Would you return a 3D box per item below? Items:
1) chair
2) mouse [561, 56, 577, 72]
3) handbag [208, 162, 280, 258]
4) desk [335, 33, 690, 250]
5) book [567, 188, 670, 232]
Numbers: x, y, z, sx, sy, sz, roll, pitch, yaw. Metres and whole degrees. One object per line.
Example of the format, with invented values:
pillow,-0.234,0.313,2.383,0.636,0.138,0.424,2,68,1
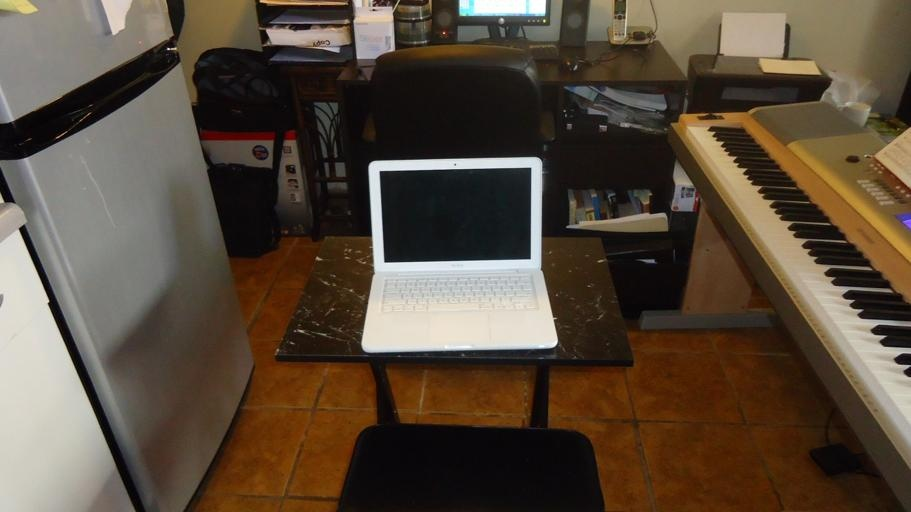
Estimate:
chair,0.061,-0.612,2.987,0.708,0.770,0.688,0,21,2
mouse,0.598,-0.998,3.328,0.076,0.027,0.070,-9,47,5
handbag,-1.235,-0.276,3.670,0.533,0.516,0.278,-5,28,-3
desk,0.304,-0.553,3.010,1.348,0.783,0.472,-1,43,0
book,0.870,-0.247,3.513,0.355,0.118,0.338,1,32,3
